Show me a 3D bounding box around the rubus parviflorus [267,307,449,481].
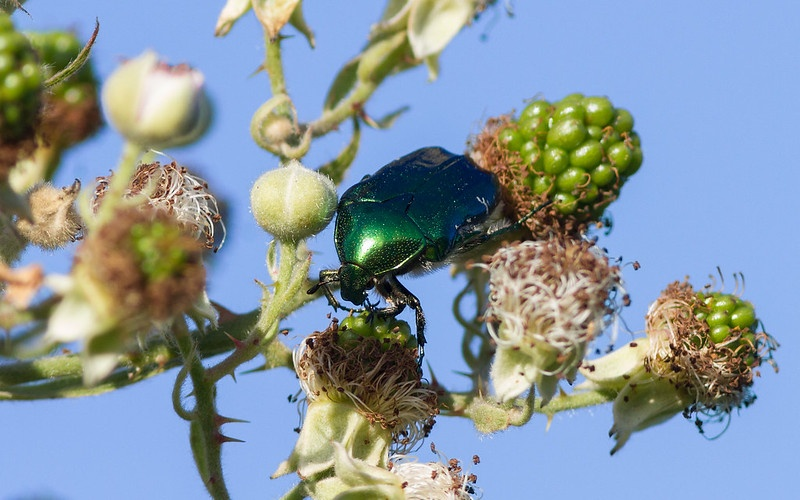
[{"bbox_3d":[-0.316,1.054,11.117,1.115,1.594,1.194,3,-9,-27],"label":"rubus parviflorus"}]

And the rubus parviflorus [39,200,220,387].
[{"bbox_3d":[-1.735,0.361,9.407,0.969,1.092,0.742,-13,1,-26],"label":"rubus parviflorus"}]

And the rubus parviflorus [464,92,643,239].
[{"bbox_3d":[1.239,-0.666,11.105,0.764,1.009,0.974,-14,45,-46],"label":"rubus parviflorus"}]

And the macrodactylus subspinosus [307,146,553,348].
[{"bbox_3d":[0.166,-0.195,11.322,1.267,0.545,1.787,21,61,40],"label":"macrodactylus subspinosus"}]

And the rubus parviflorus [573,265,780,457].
[{"bbox_3d":[2.026,0.868,11.089,1.137,1.244,0.693,3,34,-30],"label":"rubus parviflorus"}]
